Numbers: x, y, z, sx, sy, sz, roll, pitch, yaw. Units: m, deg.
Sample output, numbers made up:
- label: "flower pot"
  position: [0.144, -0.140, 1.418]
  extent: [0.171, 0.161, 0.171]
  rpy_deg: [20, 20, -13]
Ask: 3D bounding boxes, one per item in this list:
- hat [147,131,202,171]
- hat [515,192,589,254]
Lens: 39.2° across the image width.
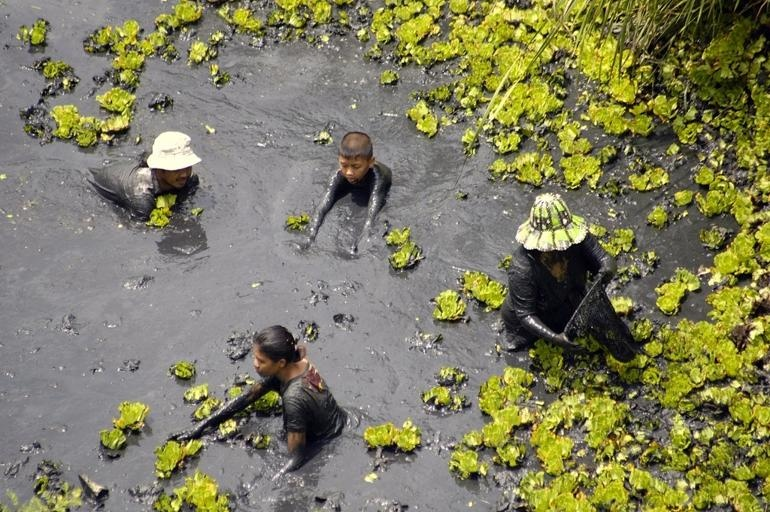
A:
- label: "hat"
  position: [-3.636, -1.795, 18.588]
  extent: [0.764, 0.396, 0.720]
  rpy_deg: [-25, 32, -31]
- label: "hat"
  position: [2.533, -0.615, 16.362]
  extent: [1.153, 0.569, 1.057]
  rpy_deg: [-17, 13, -18]
